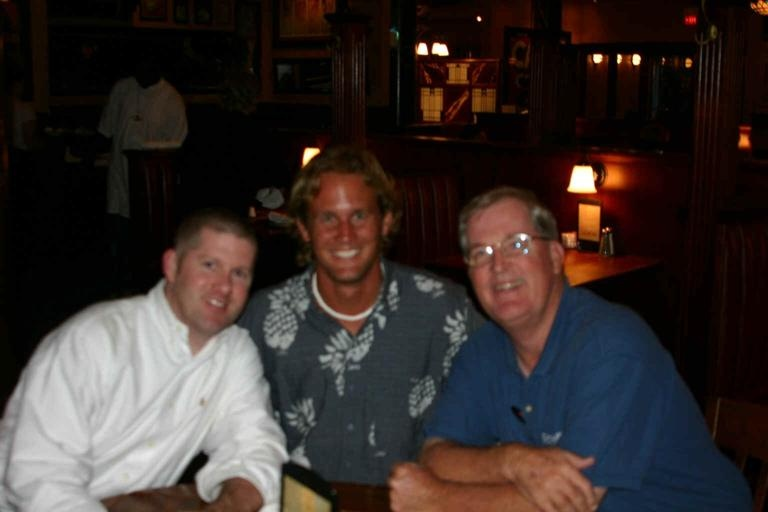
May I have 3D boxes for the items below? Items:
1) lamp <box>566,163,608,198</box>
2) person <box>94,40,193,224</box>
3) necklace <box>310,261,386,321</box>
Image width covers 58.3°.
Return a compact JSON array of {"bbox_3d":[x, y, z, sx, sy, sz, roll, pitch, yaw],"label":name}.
[{"bbox_3d":[2.024,-0.785,6.875,0.367,0.306,0.290,-5,15,-42],"label":"lamp"},{"bbox_3d":[-3.061,-1.531,8.635,1.053,2.055,0.657,1,5,-13],"label":"person"},{"bbox_3d":[-0.201,0.188,3.757,0.308,0.309,0.072,6,4,-2],"label":"necklace"}]
